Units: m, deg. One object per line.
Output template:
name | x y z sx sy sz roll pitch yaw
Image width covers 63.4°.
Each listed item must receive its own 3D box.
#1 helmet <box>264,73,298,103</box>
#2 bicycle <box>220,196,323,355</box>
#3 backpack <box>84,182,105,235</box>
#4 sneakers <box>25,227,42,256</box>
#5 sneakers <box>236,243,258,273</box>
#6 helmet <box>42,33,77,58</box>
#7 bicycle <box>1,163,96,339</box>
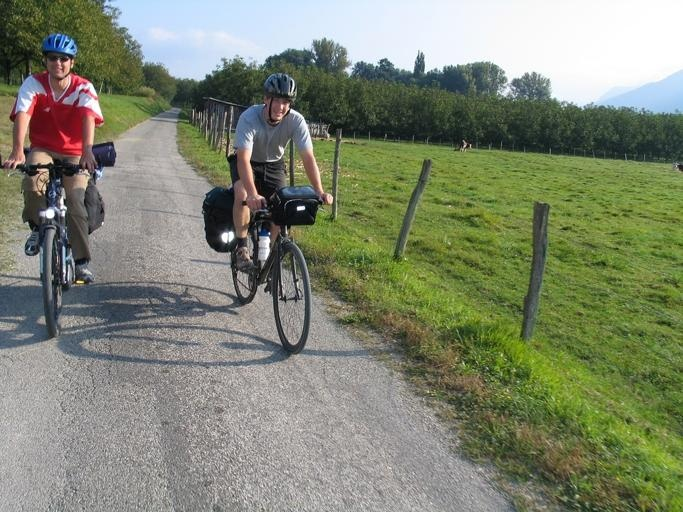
helmet | -0.672 -1.867 6.077 0.333 0.271 0.449 6 16 -9
bicycle | -0.723 0.028 6.139 0.526 1.733 1.712 0 17 -28
backpack | -2.930 -0.591 6.482 0.224 0.521 0.356 0 9 -22
sneakers | -3.386 -0.171 6.056 0.128 0.216 0.490 0 13 -18
sneakers | -1.122 0.014 6.469 0.121 0.197 0.407 -3 14 -24
helmet | -3.043 -2.278 5.962 0.312 0.229 0.572 0 20 -31
bicycle | -3.061 -0.114 5.833 0.543 1.706 1.187 4 15 -12
